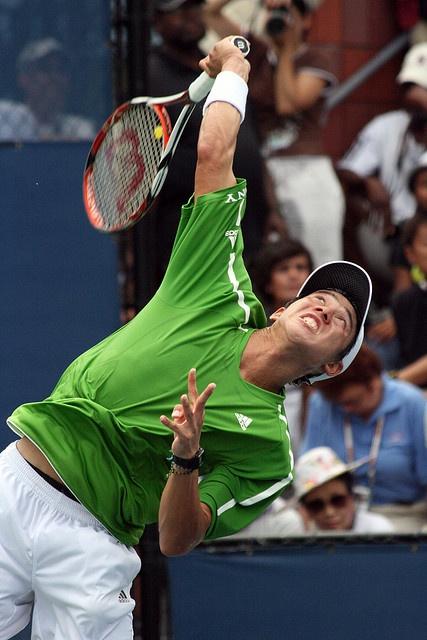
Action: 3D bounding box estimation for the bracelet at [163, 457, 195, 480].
[{"bbox_3d":[-0.106,0.476,3.297,0.106,0.078,0.128,7,-6,0],"label":"bracelet"}]

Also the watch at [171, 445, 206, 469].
[{"bbox_3d":[-0.074,0.447,3.273,0.091,0.051,0.090,2,-10,-6],"label":"watch"}]
